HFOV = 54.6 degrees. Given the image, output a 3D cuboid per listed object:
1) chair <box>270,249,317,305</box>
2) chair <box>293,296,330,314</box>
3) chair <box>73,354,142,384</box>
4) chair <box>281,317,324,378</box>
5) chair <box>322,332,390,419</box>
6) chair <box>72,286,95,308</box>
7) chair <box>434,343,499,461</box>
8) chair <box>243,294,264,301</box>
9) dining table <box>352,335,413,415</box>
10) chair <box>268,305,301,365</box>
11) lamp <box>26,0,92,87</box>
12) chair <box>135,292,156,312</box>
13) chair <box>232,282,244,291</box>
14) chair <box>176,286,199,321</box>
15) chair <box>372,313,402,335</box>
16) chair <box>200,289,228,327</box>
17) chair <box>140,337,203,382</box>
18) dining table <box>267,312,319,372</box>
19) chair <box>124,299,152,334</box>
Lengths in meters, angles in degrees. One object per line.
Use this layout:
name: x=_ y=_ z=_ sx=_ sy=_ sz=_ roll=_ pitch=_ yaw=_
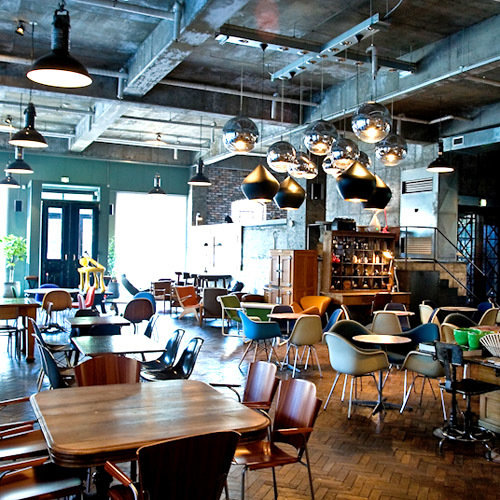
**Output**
chair: x=0.938 y=0.616 z=10.910 sx=1.069 sy=1.232 sz=0.777 roll=0 pitch=2 yaw=11
chair: x=1.173 y=1.094 z=9.833 sx=0.497 sy=0.179 sz=0.449 roll=0 pitch=-2 yaw=-43
chair: x=-1.119 y=0.843 z=3.818 sx=0.427 sy=0.329 sz=0.266 roll=1 pitch=1 yaw=-17
chair: x=0.821 y=1.422 z=7.811 sx=0.622 sy=0.983 sz=1.823 roll=0 pitch=1 yaw=5
chair: x=1.175 y=1.371 z=5.524 sx=0.801 sy=0.774 sz=0.717 roll=1 pitch=-4 yaw=-12
chair: x=-3.461 y=0.965 z=9.746 sx=0.594 sy=0.532 sz=0.450 roll=5 pitch=-7 yaw=-23
chair: x=2.083 y=1.373 z=4.671 sx=0.580 sy=0.980 sz=1.090 roll=0 pitch=2 yaw=20
chair: x=0.084 y=1.179 z=11.744 sx=0.290 sy=0.201 sz=0.255 roll=-3 pitch=-17 yaw=12
dining table: x=1.530 y=1.498 z=5.831 sx=0.875 sy=0.810 sz=0.799 roll=-14 pitch=-17 yaw=11
chair: x=0.594 y=1.215 z=7.872 sx=0.595 sy=0.555 sz=0.528 roll=-12 pitch=2 yaw=4
lamp: x=-1.413 y=-1.565 z=3.516 sx=0.414 sy=0.763 sz=0.575 roll=-1 pitch=2 yaw=-30
chair: x=-2.089 y=1.003 z=9.708 sx=0.502 sy=0.442 sz=0.499 roll=0 pitch=3 yaw=5
chair: x=-0.333 y=1.067 z=13.787 sx=0.246 sy=0.264 sz=0.297 roll=0 pitch=-14 yaw=2
chair: x=-1.412 y=1.314 z=12.233 sx=0.754 sy=0.687 sz=0.707 roll=3 pitch=7 yaw=32
chair: x=2.098 y=1.112 z=7.439 sx=0.367 sy=0.467 sz=0.391 roll=3 pitch=5 yaw=23
chair: x=-0.755 y=1.386 z=11.808 sx=0.906 sy=0.843 sz=0.895 roll=0 pitch=-13 yaw=-20
chair: x=-0.789 y=1.104 z=4.808 sx=0.425 sy=0.490 sz=0.719 roll=-2 pitch=2 yaw=-36
dining table: x=0.774 y=1.395 z=7.175 sx=0.650 sy=0.793 sz=0.644 roll=2 pitch=-7 yaw=-4
chair: x=-2.142 y=1.140 z=8.946 sx=0.550 sy=0.670 sz=0.561 roll=0 pitch=3 yaw=-25
